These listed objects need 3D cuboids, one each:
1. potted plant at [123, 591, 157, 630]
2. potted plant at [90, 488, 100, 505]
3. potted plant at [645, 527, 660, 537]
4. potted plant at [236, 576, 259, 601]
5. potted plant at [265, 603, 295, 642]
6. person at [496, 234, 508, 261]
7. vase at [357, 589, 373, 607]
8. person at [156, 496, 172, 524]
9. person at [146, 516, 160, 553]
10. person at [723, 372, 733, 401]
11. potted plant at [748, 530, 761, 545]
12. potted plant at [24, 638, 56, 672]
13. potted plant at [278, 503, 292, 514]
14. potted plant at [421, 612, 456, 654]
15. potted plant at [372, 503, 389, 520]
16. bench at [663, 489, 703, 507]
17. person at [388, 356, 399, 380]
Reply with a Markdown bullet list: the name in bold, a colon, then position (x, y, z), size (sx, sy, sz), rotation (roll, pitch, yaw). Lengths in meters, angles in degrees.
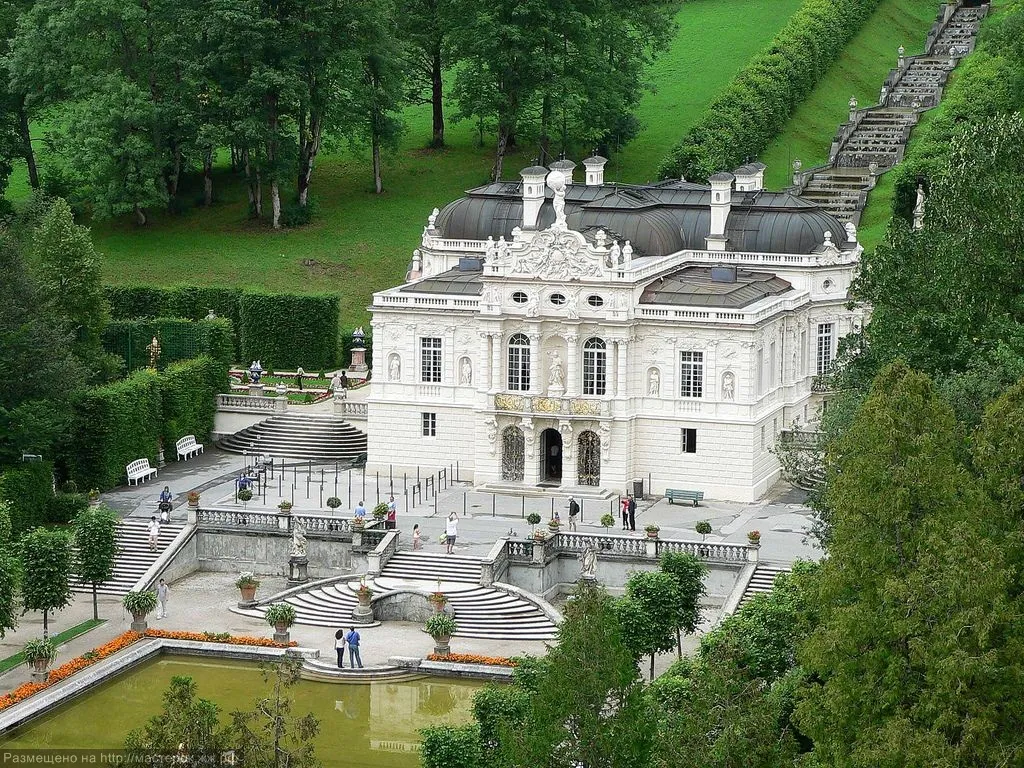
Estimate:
- **potted plant**: position (-17.637, 10.465, 114.152), size (1.660, 1.892, 1.621), rotation (0, 0, -6)
- **potted plant**: position (-21.560, 5.595, 124.449), size (0.663, 0.723, 0.670), rotation (0, -1, -6)
- **potted plant**: position (6.806, 6.900, 116.938), size (0.495, 0.409, 0.484), rotation (-1, 1, -23)
- **potted plant**: position (-12.843, 9.688, 117.125), size (1.123, 1.132, 1.141), rotation (0, 2, 33)
- **potted plant**: position (-10.696, 10.888, 112.133), size (1.114, 1.611, 1.311), rotation (-4, 8, -26)
- **person**: position (-0.505, -7.358, 128.204), size (0.586, 0.999, 1.476), rotation (-1, 7, -3)
- **vase**: position (-6.994, 9.884, 114.792), size (0.815, 0.786, 0.728), rotation (-1, 2, -18)
- **person**: position (-17.837, 6.065, 123.714), size (0.589, 1.364, 1.637), rotation (-2, 7, -8)
- **person**: position (-18.059, 7.277, 121.726), size (0.567, 1.609, 1.505), rotation (-2, 7, -8)
- **person**: position (11.273, -0.167, 125.859), size (0.652, 1.510, 0.177), rotation (1, 7, 15)
- **potted plant**: position (11.620, 7.127, 115.301), size (0.625, 0.599, 0.620), rotation (-1, 4, -4)
- **potted plant**: position (-21.193, 11.931, 107.894), size (1.317, 1.434, 1.435), rotation (0, -7, 2)
- **potted plant**: position (-11.364, 5.975, 120.726), size (0.576, 0.411, 0.548), rotation (0, -2, 0)
- **potted plant**: position (-3.512, 11.227, 110.702), size (1.567, 1.742, 1.478), rotation (-2, 2, -35)
- **potted plant**: position (-6.657, 6.170, 120.864), size (0.696, 0.709, 0.715), rotation (6, 19, 19)
- **bench**: position (9.050, 5.645, 125.918), size (1.536, 0.742, 0.888), rotation (1, 5, 15)
- **person**: position (-6.397, -1.175, 131.164), size (0.609, 1.404, 0.229), rotation (-1, 7, -5)
